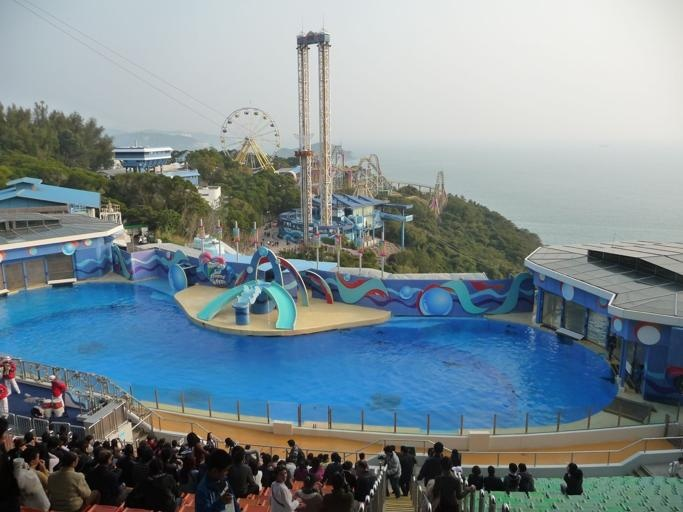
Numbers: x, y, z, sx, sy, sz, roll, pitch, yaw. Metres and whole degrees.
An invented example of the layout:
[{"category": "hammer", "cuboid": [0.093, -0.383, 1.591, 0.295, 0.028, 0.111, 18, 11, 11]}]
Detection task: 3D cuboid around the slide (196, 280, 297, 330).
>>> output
[{"category": "slide", "cuboid": [-5.075, 2.812, 35.506, 5.899, 2.262, 2.546, 4, 9, 19]}]
